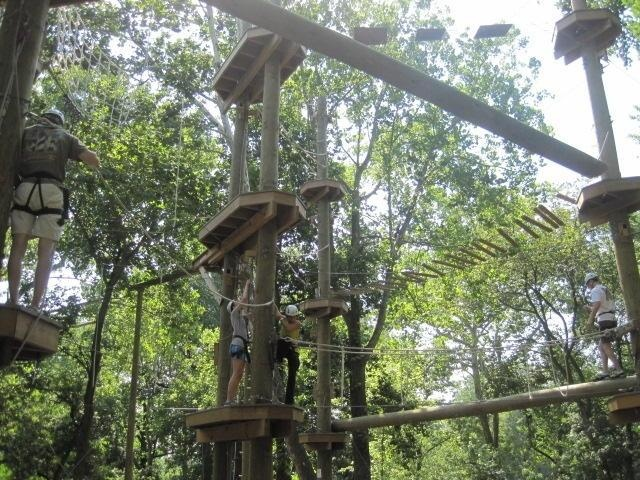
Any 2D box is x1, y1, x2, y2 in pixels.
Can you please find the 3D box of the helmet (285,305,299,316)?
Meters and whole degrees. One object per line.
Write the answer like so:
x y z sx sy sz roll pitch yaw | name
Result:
-0.758 1.862 19.753 0.217 0.272 0.311 2 -15 -12 | helmet

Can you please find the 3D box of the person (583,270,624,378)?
7.898 2.268 20.850 0.738 2.923 1.371 -10 -23 21 | person

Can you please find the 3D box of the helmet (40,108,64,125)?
-5.916 -2.775 16.516 0.331 0.459 0.426 15 -10 -40 | helmet
